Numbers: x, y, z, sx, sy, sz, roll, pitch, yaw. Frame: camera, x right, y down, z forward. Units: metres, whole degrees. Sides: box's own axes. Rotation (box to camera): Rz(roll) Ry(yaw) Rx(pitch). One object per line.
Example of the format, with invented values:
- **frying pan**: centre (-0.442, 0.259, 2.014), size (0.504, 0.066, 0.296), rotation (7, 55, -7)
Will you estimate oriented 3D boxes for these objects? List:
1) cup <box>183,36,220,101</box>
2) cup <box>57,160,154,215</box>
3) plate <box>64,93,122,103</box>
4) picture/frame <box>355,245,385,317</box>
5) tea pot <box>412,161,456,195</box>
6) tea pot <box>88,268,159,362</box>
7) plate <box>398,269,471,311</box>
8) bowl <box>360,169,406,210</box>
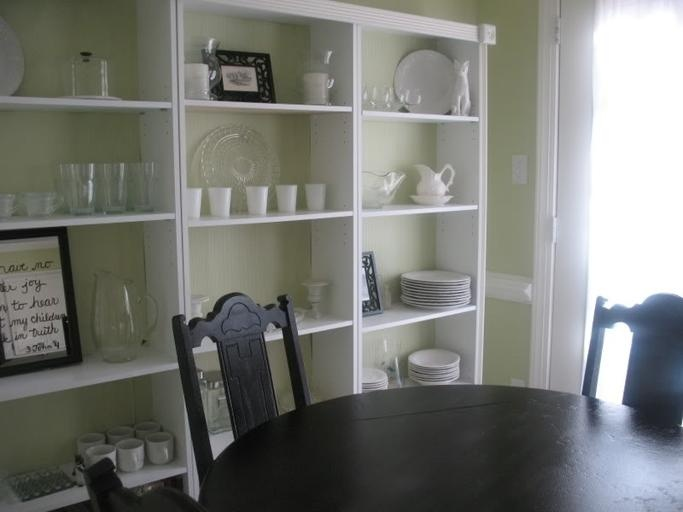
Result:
- **cup**: centre (-0.596, -0.758, 2.170), size (0.155, 0.252, 0.203), rotation (1, 12, 4)
- **cup**: centre (-0.887, -0.254, 2.016), size (0.344, 0.185, 0.079), rotation (-8, 13, -31)
- **plate**: centre (-0.908, -0.568, 1.927), size (0.189, 0.024, 0.099), rotation (-5, 14, -22)
- **picture/frame**: centre (0.142, 0.142, 2.809), size (0.020, 0.319, 0.325), rotation (-9, -4, 36)
- **tea pot**: centre (0.510, -0.423, 2.946), size (0.227, 0.200, 0.162), rotation (0, 6, -6)
- **tea pot**: centre (-0.791, 0.248, 2.107), size (0.207, 0.402, 0.351), rotation (-3, -4, 41)
- **plate**: centre (0.541, 0.191, 2.935), size (0.234, 0.112, 0.244), rotation (-1, 3, -29)
- **bowl**: centre (0.209, -0.336, 2.770), size (0.194, 0.162, 0.175), rotation (0, 0, -8)
